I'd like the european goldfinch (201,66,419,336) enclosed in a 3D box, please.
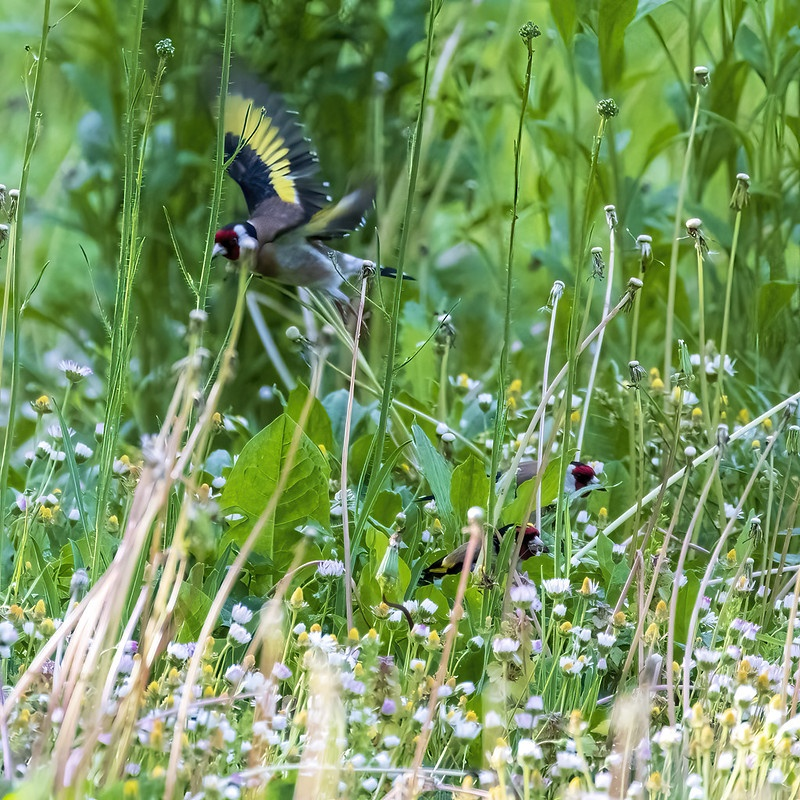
[{"bbox_3d":[-0.105,-0.251,1.534,0.239,0.297,0.356,7,10,-10],"label":"european goldfinch"}]
